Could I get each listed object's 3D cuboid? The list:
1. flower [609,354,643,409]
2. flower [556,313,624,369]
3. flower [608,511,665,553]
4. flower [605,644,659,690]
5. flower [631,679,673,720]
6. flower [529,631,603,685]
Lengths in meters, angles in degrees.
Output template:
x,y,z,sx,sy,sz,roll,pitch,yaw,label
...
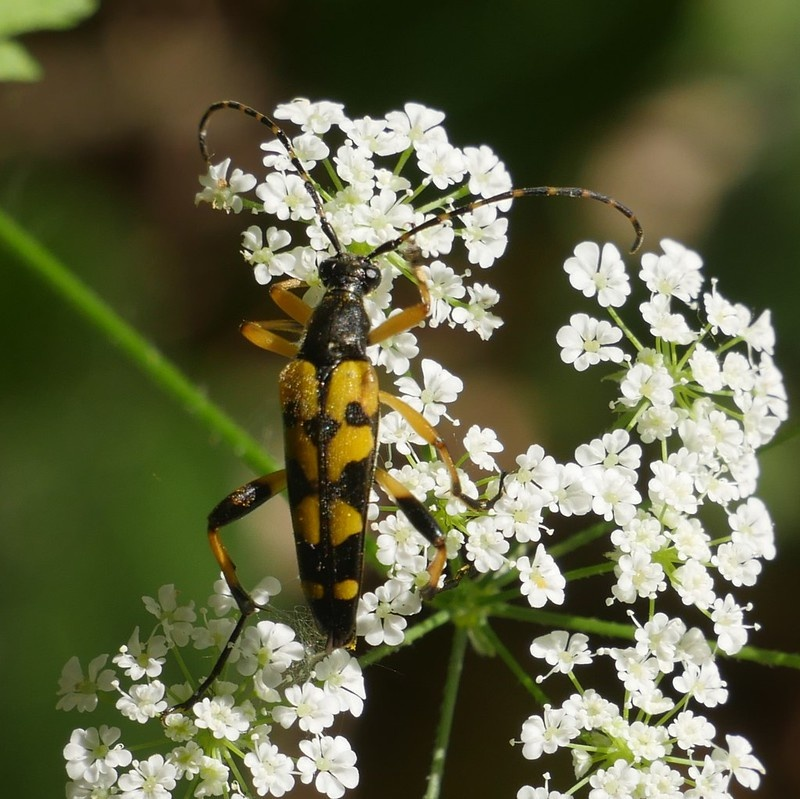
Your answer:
x,y,z,sx,sy,sz,roll,pitch,yaw,label
1.205,-0.088,5.231,0.296,0.240,0.144,-9,-6,6,flower
0.957,-0.310,5.305,0.264,0.320,0.259,-4,24,-18,flower
0.963,-0.300,5.327,0.363,0.101,0.341,17,-26,-41,flower
1.122,1.298,4.987,0.205,0.221,0.083,14,14,17,flower
1.209,1.441,4.962,0.194,0.099,0.118,-10,-7,11,flower
0.787,1.254,5.042,0.275,0.233,0.283,-9,-7,13,flower
